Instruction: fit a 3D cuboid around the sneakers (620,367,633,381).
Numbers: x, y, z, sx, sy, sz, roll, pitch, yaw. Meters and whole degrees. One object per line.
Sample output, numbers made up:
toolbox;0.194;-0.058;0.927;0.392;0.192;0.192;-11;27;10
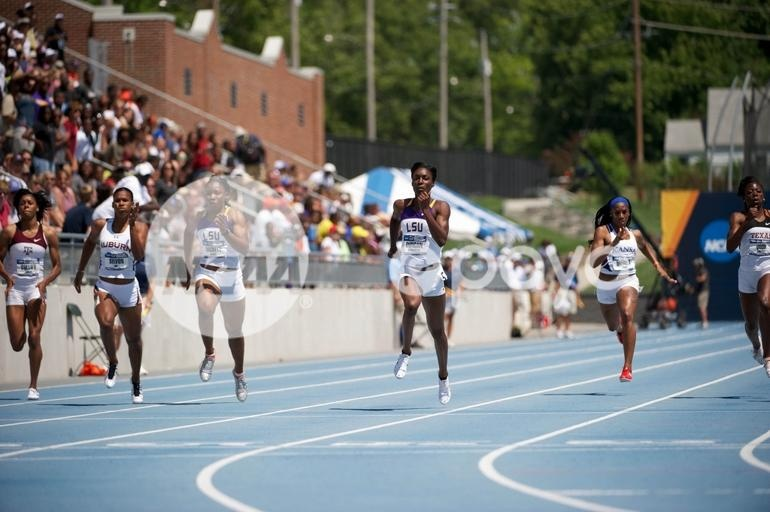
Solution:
sneakers;4.038;1.979;22.487;0.180;0.198;0.459;-2;1;7

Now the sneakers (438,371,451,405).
sneakers;0.946;2.086;21.410;0.196;0.554;0.236;-3;-16;7

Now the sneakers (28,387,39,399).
sneakers;-5.888;2.298;22.393;0.161;0.091;0.231;2;1;-20

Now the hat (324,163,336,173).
hat;-1.437;-2.259;34.073;0.264;0.247;0.134;2;-14;-24

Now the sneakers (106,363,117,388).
sneakers;-4.567;2.005;22.285;0.171;0.492;0.229;-1;8;-12

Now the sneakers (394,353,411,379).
sneakers;0.277;1.755;22.020;0.214;0.267;0.651;4;8;5

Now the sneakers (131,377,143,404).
sneakers;-4.061;2.195;21.827;0.150;0.429;0.195;-6;5;-19

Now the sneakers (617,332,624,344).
sneakers;4.094;1.408;23.252;0.120;0.130;0.344;0;15;8
